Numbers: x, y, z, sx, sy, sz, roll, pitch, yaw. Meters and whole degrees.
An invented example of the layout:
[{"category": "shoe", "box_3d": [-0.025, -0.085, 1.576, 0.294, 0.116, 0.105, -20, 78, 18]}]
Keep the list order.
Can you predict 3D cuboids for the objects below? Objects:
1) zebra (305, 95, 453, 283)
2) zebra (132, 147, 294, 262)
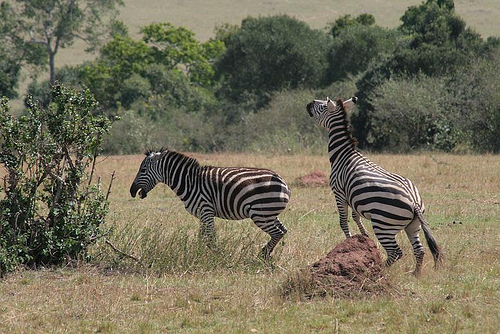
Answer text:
[{"category": "zebra", "box_3d": [6.369, 1.226, 44.981, 2.227, 6.223, 9.114, -19, 45, -26]}, {"category": "zebra", "box_3d": [-1.799, 1.578, 42.616, 7.216, 5.427, 2.118, 2, 23, -2]}]
